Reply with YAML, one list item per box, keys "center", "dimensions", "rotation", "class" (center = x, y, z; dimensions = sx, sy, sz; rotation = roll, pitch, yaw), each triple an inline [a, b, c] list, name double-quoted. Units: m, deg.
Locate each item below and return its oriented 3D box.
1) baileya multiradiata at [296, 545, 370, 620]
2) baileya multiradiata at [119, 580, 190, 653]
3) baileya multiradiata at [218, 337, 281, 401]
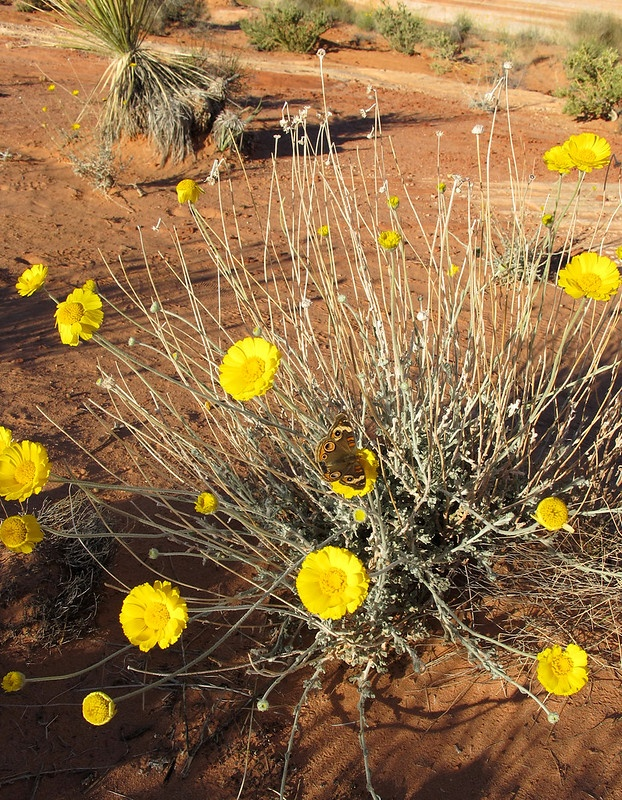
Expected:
- center: [0.047, 0.500, 1.971]
  dimensions: [0.196, 0.143, 0.163]
  rotation: [29, 41, 35]
  class: "baileya multiradiata"
- center: [-0.471, 0.645, 2.109]
  dimensions: [0.178, 0.226, 0.213]
  rotation: [-11, 36, -20]
  class: "baileya multiradiata"
- center: [-0.147, -0.129, 2.145]
  dimensions: [0.215, 0.071, 0.209]
  rotation: [7, 13, -3]
  class: "baileya multiradiata"
